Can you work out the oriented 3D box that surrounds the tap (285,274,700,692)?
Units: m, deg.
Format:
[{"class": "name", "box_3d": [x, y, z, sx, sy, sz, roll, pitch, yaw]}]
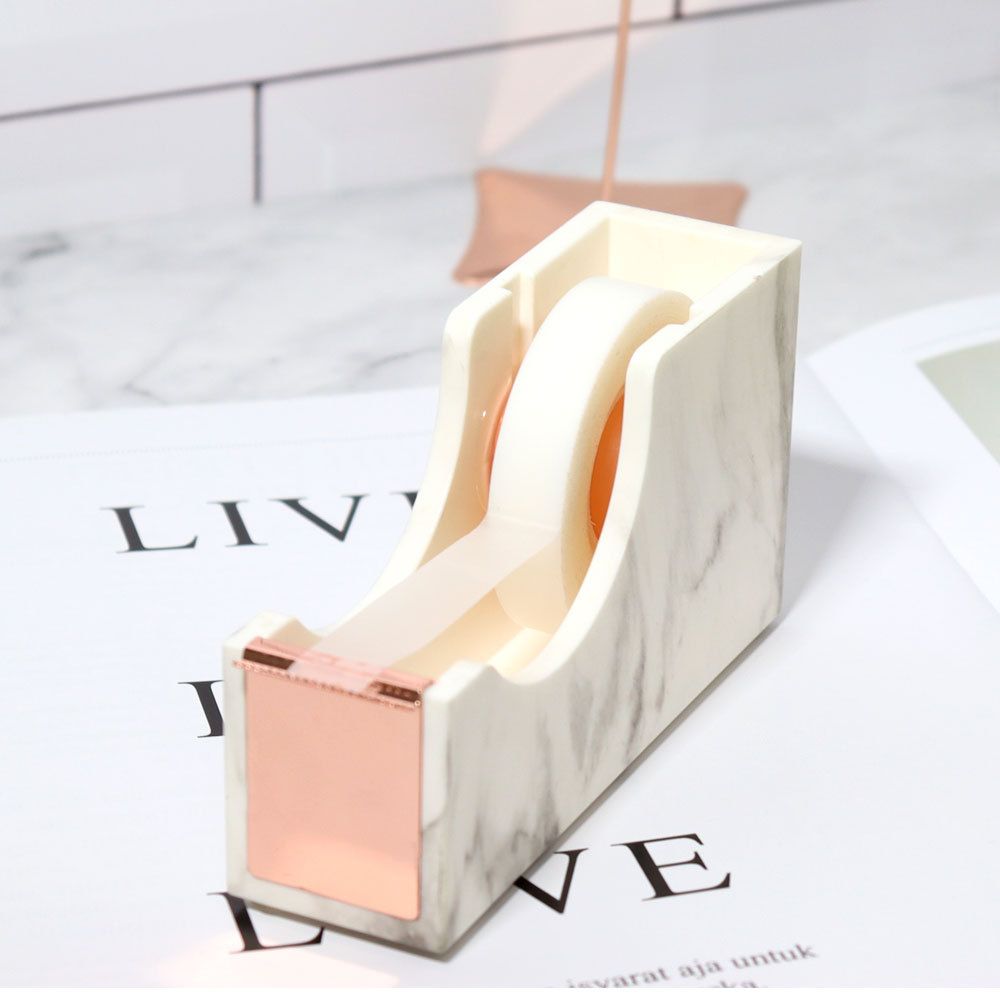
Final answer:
[{"class": "tap", "box_3d": [0.027, -0.125, 1.537, 0.196, 0.346, 0.739, 13, 46, 24]}]
